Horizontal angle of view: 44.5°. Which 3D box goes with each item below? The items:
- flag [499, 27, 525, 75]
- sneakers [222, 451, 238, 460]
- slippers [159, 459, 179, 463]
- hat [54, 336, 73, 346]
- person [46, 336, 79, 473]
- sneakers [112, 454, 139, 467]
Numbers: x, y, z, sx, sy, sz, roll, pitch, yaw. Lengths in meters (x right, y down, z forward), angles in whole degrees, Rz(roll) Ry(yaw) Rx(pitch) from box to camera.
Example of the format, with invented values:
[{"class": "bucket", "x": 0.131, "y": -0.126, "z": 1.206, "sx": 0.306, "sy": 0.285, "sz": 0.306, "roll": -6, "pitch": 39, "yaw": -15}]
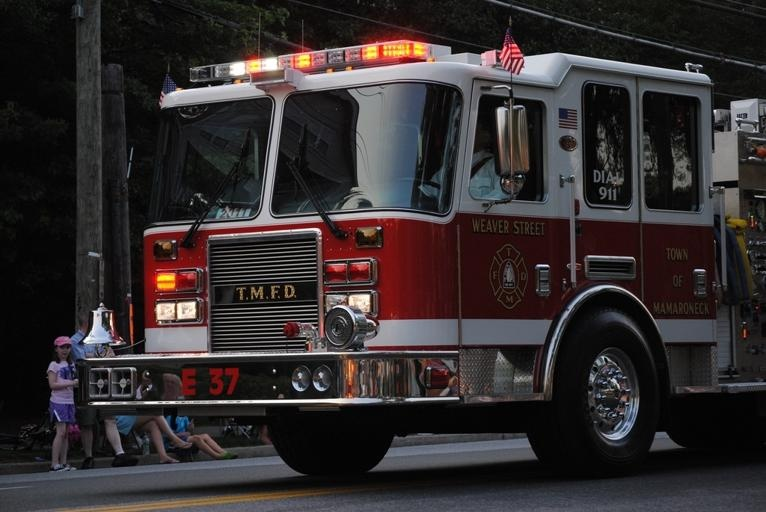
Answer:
[{"class": "flag", "x": 1.258, "y": -2.030, "z": 9.215, "sx": 0.250, "sy": 0.509, "sz": 0.048, "roll": 0, "pitch": 40, "yaw": 11}, {"class": "sneakers", "x": -2.469, "y": 3.252, "z": 15.085, "sx": 0.083, "sy": 0.104, "sz": 0.240, "roll": -5, "pitch": -5, "yaw": 33}, {"class": "slippers", "x": -3.329, "y": 3.222, "z": 14.498, "sx": 0.288, "sy": 0.121, "sz": 0.111, "roll": -5, "pitch": -8, "yaw": 11}, {"class": "hat", "x": -4.863, "y": 1.318, "z": 14.108, "sx": 0.219, "sy": 0.133, "sz": 0.335, "roll": 1, "pitch": -10, "yaw": -27}, {"class": "person", "x": -4.780, "y": 2.205, "z": 13.883, "sx": 0.371, "sy": 1.939, "sz": 0.714, "roll": 0, "pitch": -2, "yaw": -20}, {"class": "sneakers", "x": -3.955, "y": 3.136, "z": 14.157, "sx": 0.304, "sy": 0.136, "sz": 0.180, "roll": -10, "pitch": -11, "yaw": 22}]
